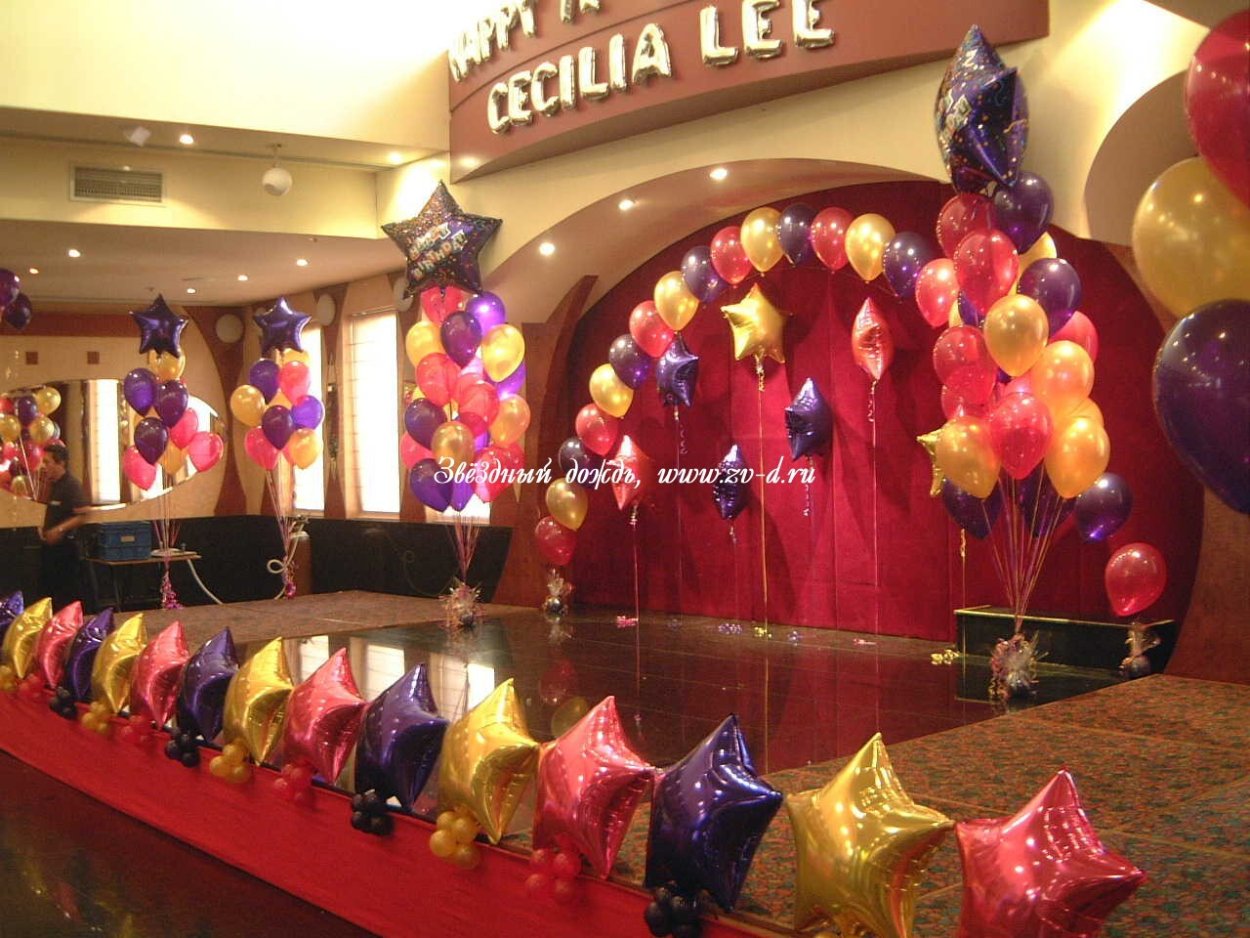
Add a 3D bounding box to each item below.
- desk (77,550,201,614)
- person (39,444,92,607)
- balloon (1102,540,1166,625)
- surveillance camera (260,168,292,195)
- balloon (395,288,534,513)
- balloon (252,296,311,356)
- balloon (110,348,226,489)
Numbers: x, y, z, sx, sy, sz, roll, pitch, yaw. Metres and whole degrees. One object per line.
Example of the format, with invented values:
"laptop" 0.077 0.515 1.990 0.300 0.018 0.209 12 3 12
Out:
"desk" -5.485 1.204 11.069 1.040 1.155 1.073 1 -2 -36
"person" -6.060 0.614 10.385 0.432 1.555 1.560 -2 0 -32
"balloon" 2.869 0.673 5.434 0.288 0.449 0.314 1 -6 17
"surveillance camera" -2.845 -2.419 7.905 0.181 0.223 0.273 -2 0 -12
"balloon" -1.262 -0.605 7.653 0.995 1.762 0.980 -2 0 -13
"balloon" -3.098 -1.339 8.706 0.355 0.488 0.509 -2 0 -35
"balloon" -4.915 -0.573 10.238 1.208 1.954 0.976 -3 16 -25
